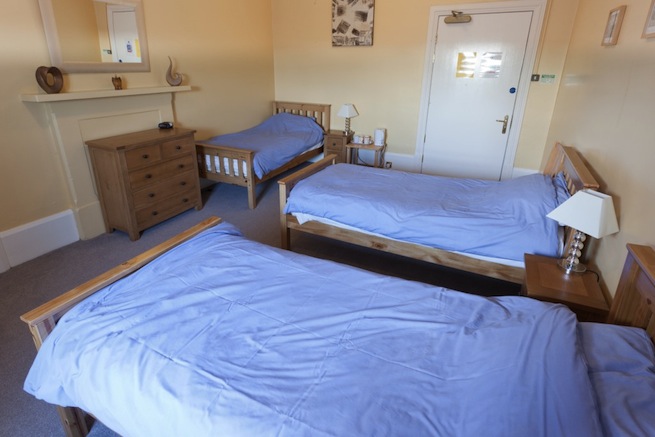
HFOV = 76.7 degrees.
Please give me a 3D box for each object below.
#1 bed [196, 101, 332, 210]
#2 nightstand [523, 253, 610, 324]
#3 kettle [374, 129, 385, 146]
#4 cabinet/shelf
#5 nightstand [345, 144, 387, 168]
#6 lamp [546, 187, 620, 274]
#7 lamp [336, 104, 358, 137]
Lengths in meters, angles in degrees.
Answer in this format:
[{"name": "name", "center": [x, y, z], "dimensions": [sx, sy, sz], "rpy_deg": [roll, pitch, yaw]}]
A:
[{"name": "bed", "center": [-0.948, -1.082, 6.182], "dimensions": [1.225, 0.946, 2.005], "rpy_deg": [14, 29, 26]}, {"name": "nightstand", "center": [1.760, 0.514, 3.095], "dimensions": [0.445, 0.413, 0.429], "rpy_deg": [6, 35, 18]}, {"name": "kettle", "center": [0.795, -1.234, 6.298], "dimensions": [0.172, 0.287, 0.171], "rpy_deg": [-14, 27, -25]}, {"name": "cabinet/shelf", "center": [-2.113, -0.447, 4.947], "dimensions": [0.639, 0.960, 1.064], "rpy_deg": [10, 25, 29]}, {"name": "nightstand", "center": [0.609, -1.003, 6.483], "dimensions": [0.478, 0.426, 0.460], "rpy_deg": [8, 34, 18]}, {"name": "lamp", "center": [1.877, 0.113, 3.040], "dimensions": [0.413, 0.532, 0.413], "rpy_deg": [-3, 20, -20]}, {"name": "lamp", "center": [0.302, -1.516, 6.316], "dimensions": [0.368, 0.403, 0.356], "rpy_deg": [-2, 24, -2]}]
